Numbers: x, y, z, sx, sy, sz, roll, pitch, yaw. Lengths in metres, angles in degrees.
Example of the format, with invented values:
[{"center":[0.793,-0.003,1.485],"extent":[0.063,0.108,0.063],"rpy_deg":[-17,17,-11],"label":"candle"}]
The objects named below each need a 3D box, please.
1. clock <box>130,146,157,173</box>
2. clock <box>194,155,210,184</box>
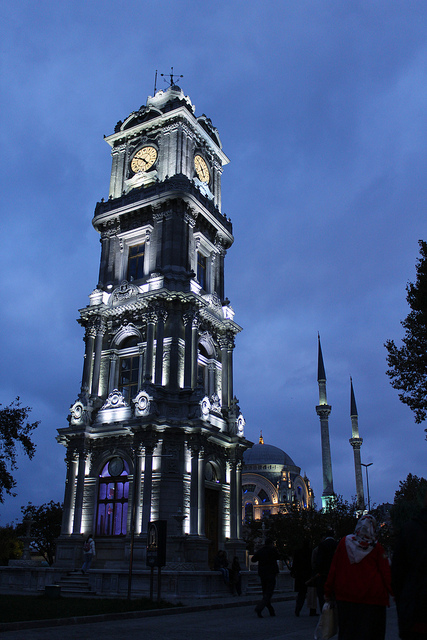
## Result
[{"center":[-4.502,-10.259,40.419],"extent":[2.213,2.055,0.214],"rpy_deg":[-18,-27,34],"label":"clock"},{"center":[-0.765,-9.906,41.684],"extent":[0.117,1.905,2.135],"rpy_deg":[-11,-24,22],"label":"clock"}]
